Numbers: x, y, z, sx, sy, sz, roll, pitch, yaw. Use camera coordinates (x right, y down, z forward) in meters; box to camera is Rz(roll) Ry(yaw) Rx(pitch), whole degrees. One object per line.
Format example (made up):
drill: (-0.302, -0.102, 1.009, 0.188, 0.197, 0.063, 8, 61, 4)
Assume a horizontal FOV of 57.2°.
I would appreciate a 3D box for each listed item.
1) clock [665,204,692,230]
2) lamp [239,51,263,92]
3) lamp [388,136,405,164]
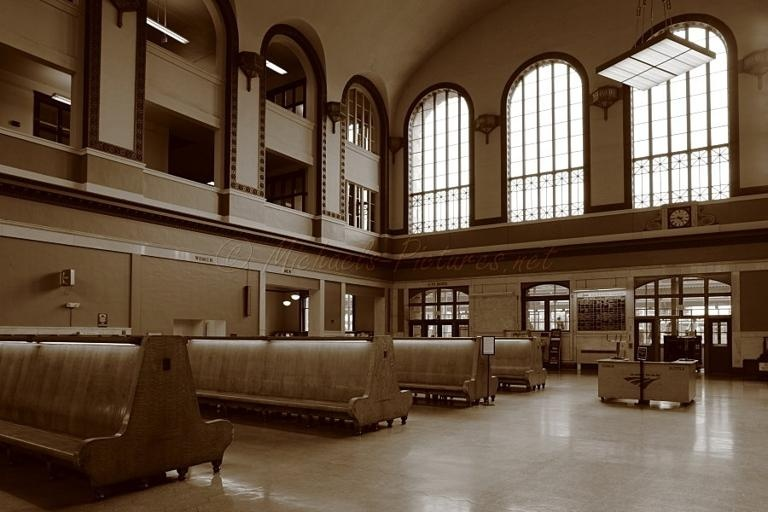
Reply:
clock: (10.480, -1.393, 25.133, 0.767, 0.809, 0.236, -4, -1, 36)
lamp: (-4.510, -6.229, 23.755, 0.508, 1.298, 0.877, 6, 10, 37)
lamp: (0.589, -4.780, 31.384, 0.774, 1.101, 1.077, -2, -4, 29)
